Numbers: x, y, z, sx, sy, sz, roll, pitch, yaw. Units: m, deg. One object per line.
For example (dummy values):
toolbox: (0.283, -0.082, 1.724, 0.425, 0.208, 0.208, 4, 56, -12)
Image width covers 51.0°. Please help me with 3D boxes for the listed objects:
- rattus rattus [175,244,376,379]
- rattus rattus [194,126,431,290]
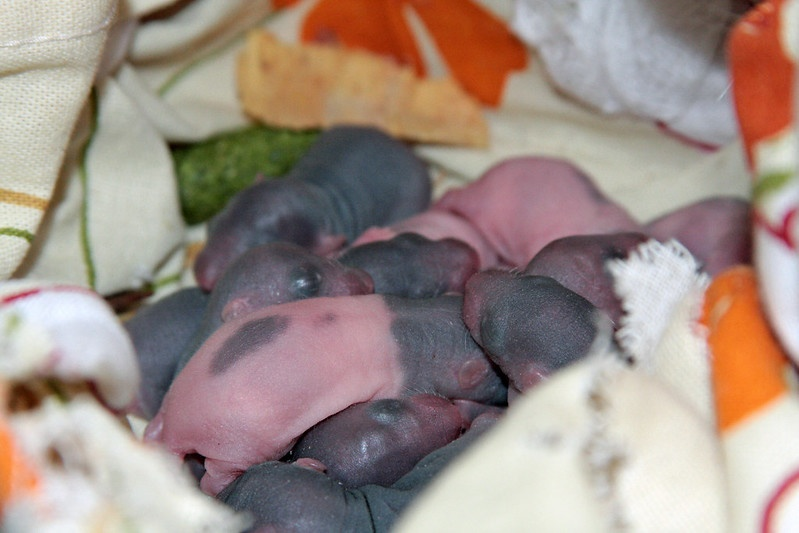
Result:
rattus rattus: (-0.163, 0.027, 0.995, 0.233, 0.126, 0.111, -28, 52, 18)
rattus rattus: (-0.124, -0.064, 1.128, 0.283, 0.144, 0.163, -19, 59, -24)
